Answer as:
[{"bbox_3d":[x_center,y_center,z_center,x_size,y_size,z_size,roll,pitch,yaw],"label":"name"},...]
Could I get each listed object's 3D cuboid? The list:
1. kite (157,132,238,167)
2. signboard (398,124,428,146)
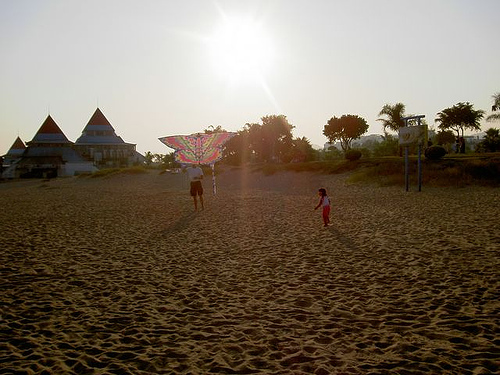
[{"bbox_3d":[-2.974,-2.094,22.331,3.415,1.875,0.696,-2,12,-4],"label":"kite"},{"bbox_3d":[9.216,-2.888,22.062,0.756,1.301,1.908,-9,14,-32],"label":"signboard"}]
